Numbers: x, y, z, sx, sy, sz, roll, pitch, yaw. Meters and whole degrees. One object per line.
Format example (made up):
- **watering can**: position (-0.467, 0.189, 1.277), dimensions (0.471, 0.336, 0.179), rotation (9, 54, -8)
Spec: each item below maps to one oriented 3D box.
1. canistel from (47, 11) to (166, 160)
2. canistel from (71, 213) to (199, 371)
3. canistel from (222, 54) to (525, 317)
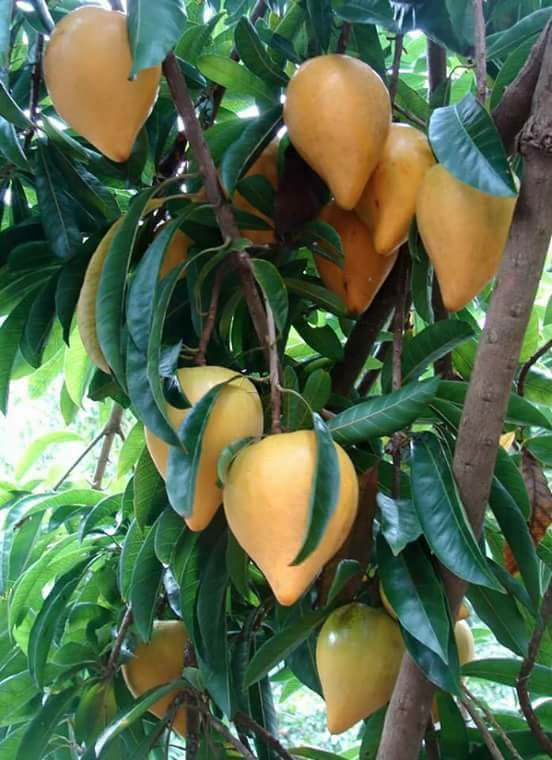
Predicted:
- **canistel**: position (-0.112, -0.196, 0.475), dimensions (0.079, 0.061, 0.097), rotation (-14, 104, -31)
- **canistel**: position (-0.103, -0.091, 0.520), dimensions (0.056, 0.020, 0.182), rotation (14, 74, 15)
- **canistel**: position (0.077, -0.143, 0.523), dimensions (0.231, 0.163, 0.135), rotation (35, 78, 19)
